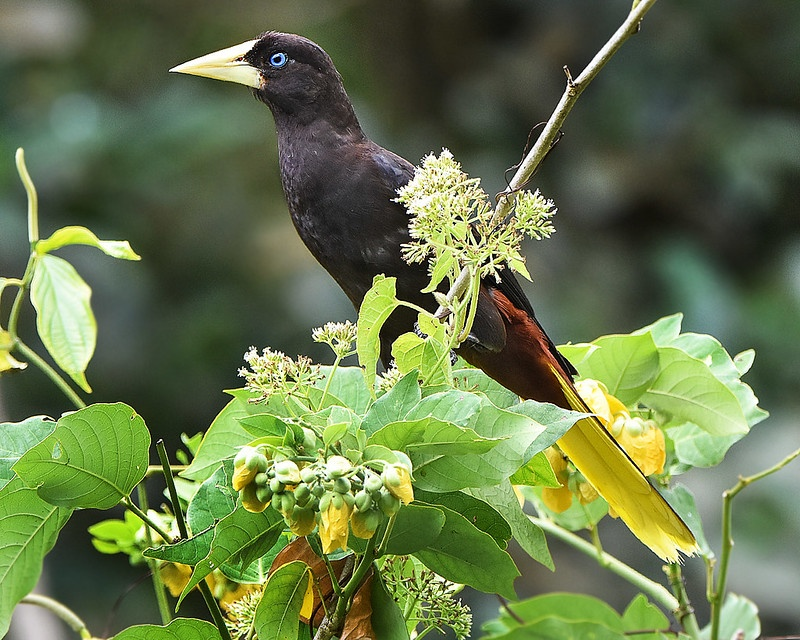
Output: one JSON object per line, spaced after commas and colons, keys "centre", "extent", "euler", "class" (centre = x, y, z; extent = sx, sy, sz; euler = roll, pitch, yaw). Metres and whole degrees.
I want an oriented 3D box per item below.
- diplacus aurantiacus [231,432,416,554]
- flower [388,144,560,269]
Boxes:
{"centre": [-0.088, 0.203, 1.116], "extent": [0.204, 0.149, 0.124], "euler": [-1, -46, 3], "class": "diplacus aurantiacus"}
{"centre": [0.091, -0.120, 1.226], "extent": [0.195, 0.139, 0.126], "euler": [13, -47, -10], "class": "flower"}
